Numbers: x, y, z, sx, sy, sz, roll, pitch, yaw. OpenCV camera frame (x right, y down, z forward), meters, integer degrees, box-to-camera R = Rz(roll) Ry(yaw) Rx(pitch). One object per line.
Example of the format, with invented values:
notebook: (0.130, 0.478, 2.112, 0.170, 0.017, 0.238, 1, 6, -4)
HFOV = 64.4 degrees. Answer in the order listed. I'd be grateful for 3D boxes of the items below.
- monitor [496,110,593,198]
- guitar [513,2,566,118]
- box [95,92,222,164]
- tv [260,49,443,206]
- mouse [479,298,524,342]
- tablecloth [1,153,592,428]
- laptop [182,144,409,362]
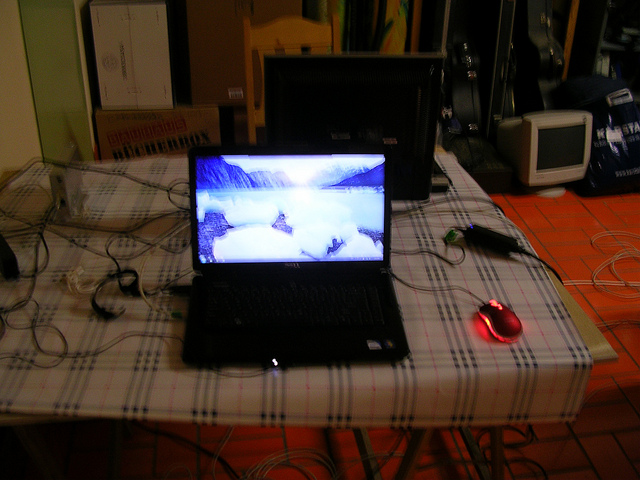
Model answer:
monitor: (1.476, -0.556, 3.322, 0.306, 0.380, 0.387, -17, 48, -2)
guitar: (1.566, -1.288, 3.675, 0.320, 0.792, 0.234, 18, 31, 39)
box: (-1.020, -0.695, 3.097, 0.684, 0.344, 0.381, -6, 58, -9)
tv: (0.143, -0.315, 1.829, 0.729, 0.249, 0.745, 0, 66, 7)
mouse: (0.492, 0.212, 1.397, 0.086, 0.057, 0.154, -7, 28, -1)
tablecloth: (-0.155, 0.072, 1.618, 1.687, 0.573, 1.006, -5, 25, -4)
laptop: (-0.085, 0.048, 1.457, 0.638, 0.579, 0.406, -1, 23, -6)
